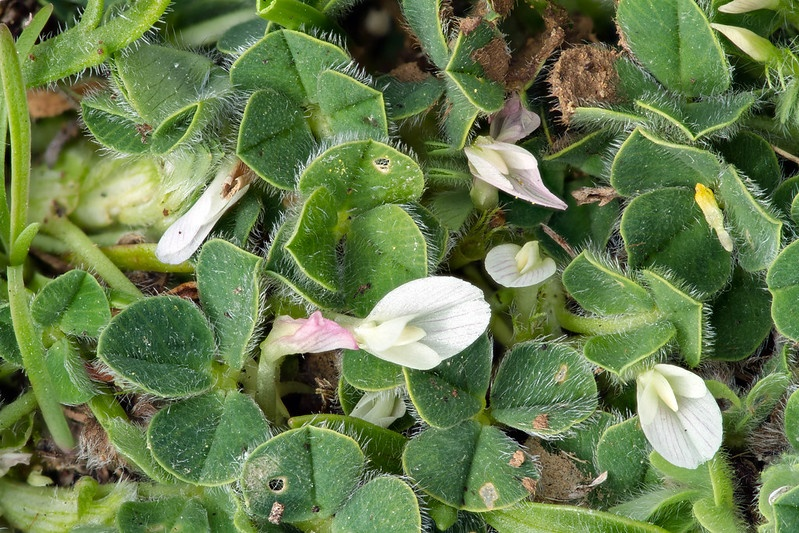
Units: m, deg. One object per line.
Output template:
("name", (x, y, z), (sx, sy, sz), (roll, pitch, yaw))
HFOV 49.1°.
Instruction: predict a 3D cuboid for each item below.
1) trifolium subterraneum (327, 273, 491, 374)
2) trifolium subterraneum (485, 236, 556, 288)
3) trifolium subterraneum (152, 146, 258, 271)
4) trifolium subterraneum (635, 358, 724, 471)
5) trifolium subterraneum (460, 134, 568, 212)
("trifolium subterraneum", (0.035, 0.103, 1.548), (0.213, 0.093, 0.179), (-2, 96, -17))
("trifolium subterraneum", (0.247, 0.002, 1.726), (0.112, 0.131, 0.061), (-20, 101, 12))
("trifolium subterraneum", (-0.381, -0.105, 1.706), (0.069, 0.071, 0.247), (41, 78, 7))
("trifolium subterraneum", (0.515, 0.276, 1.623), (0.158, 0.036, 0.178), (11, 77, -1))
("trifolium subterraneum", (0.218, -0.176, 1.755), (0.229, 0.072, 0.112), (38, 87, -4))
